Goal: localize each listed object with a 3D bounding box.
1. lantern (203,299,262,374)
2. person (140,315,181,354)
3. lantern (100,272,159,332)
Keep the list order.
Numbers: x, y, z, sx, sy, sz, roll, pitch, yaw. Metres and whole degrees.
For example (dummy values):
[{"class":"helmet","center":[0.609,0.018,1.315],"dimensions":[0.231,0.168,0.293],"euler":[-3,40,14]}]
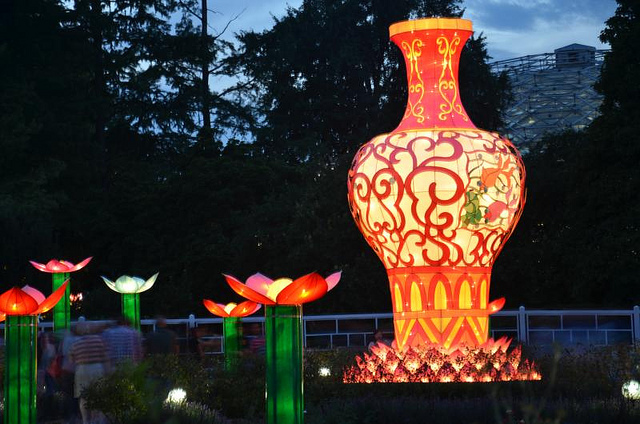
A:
[{"class":"lantern","center":[-2.069,2.937,24.061],"dimensions":[1.401,1.636,1.317],"euler":[3,13,22]},{"class":"person","center":[-3.742,2.995,23.167],"dimensions":[0.798,1.047,2.717],"euler":[-2,6,-8]},{"class":"lantern","center":[-5.087,2.432,26.330],"dimensions":[1.450,1.617,1.430],"euler":[1,-7,-24]}]
